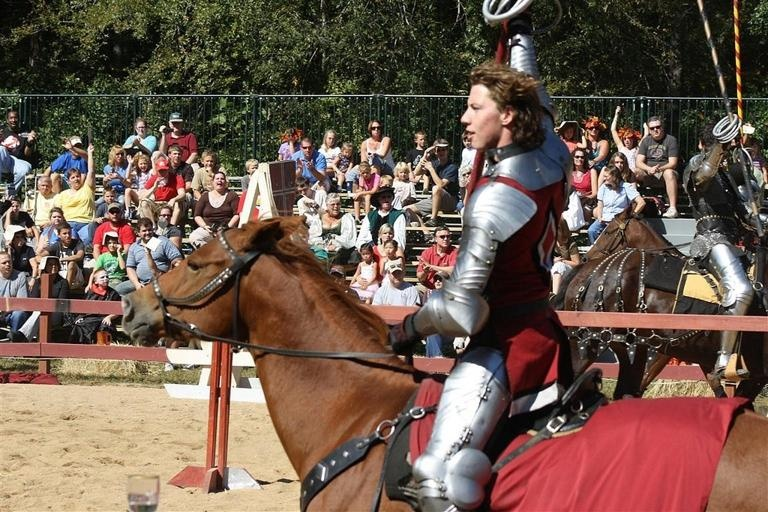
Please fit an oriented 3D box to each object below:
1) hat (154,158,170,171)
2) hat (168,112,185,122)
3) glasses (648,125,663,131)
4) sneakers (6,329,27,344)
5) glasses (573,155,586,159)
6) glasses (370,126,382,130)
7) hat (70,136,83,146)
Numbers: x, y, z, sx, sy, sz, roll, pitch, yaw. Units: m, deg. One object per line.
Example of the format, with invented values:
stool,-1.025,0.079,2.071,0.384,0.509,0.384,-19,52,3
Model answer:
hat,-4.251,-1.746,19.478,0.189,0.150,0.275,-6,14,4
hat,-4.369,-2.899,21.280,0.301,0.142,0.433,-3,11,-10
glasses,5.037,-2.380,18.893,0.244,0.096,0.166,11,12,40
sneakers,-6.193,1.349,17.021,0.362,0.198,0.124,6,9,17
glasses,3.495,-1.740,18.068,0.240,0.086,0.101,-4,12,-38
glasses,-0.160,-2.513,20.069,0.182,0.097,0.220,1,9,-9
hat,-6.274,-2.319,20.602,0.234,0.163,0.349,0,10,-17
